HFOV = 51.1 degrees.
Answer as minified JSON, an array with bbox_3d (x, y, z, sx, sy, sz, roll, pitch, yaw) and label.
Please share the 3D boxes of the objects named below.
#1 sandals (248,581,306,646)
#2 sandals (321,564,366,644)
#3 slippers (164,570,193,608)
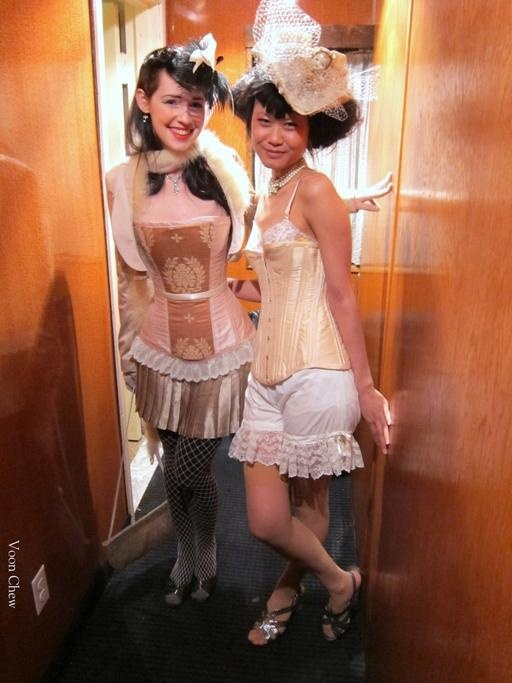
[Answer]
[{"bbox_3d":[0.077,0.930,1.802,0.096,0.061,0.253,-10,14,36],"label":"sandals"},{"bbox_3d":[0.290,0.901,1.805,0.068,0.294,0.094,-12,30,-34],"label":"sandals"},{"bbox_3d":[-0.292,0.920,1.985,0.047,0.058,0.134,4,10,2],"label":"slippers"}]
